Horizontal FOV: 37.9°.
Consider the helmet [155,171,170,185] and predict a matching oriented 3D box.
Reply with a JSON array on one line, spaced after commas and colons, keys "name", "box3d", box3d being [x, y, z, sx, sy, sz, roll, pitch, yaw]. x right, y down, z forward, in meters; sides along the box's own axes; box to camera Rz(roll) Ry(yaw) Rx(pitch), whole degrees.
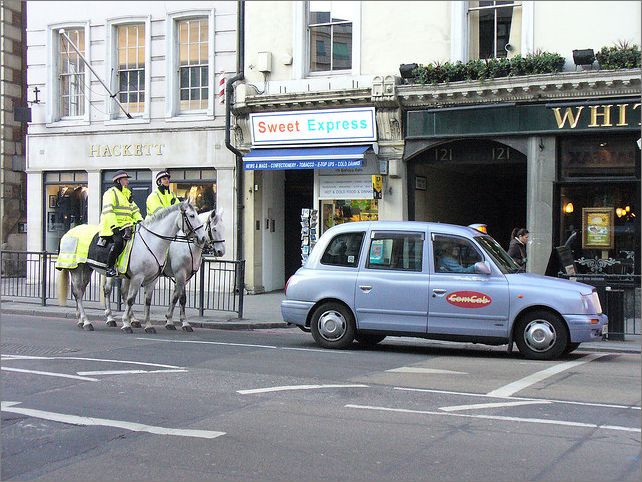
[{"name": "helmet", "box3d": [-3.467, -1.376, 20.240, 0.334, 0.280, 0.277, -14, -10, 28]}]

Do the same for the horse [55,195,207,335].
[{"name": "horse", "box3d": [-4.111, 0.649, 19.957, 3.755, 2.656, 1.063, -3, -5, 21]}]

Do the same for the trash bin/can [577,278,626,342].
[{"name": "trash bin/can", "box3d": [6.072, 1.373, 19.346, 1.269, 1.680, 1.030, -1, 1, 9]}]

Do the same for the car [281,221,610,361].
[{"name": "car", "box3d": [2.535, 0.926, 18.341, 5.934, 2.304, 2.511, -1, -2, 14]}]

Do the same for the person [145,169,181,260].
[{"name": "person", "box3d": [-3.484, -0.781, 20.513, 0.961, 1.440, 0.809, 20, 26, 38]}]
